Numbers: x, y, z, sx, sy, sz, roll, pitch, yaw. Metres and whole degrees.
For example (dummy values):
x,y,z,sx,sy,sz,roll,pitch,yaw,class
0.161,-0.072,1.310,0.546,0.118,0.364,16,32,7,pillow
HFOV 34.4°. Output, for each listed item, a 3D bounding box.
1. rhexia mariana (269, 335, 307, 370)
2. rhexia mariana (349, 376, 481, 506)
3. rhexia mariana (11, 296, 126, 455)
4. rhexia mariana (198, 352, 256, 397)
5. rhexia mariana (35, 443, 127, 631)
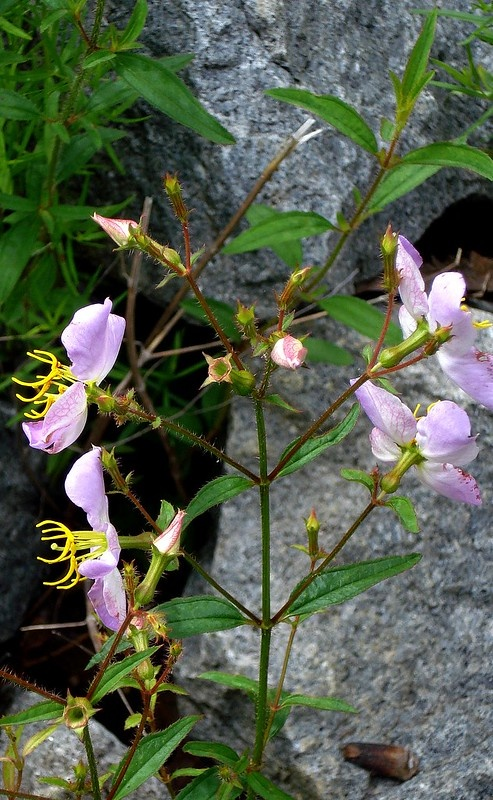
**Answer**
x,y,z,sx,sy,sz,roll,pitch,yaw,class
0.069,-0.075,1.326,0.053,0.060,0.040,-9,-8,-12,rhexia mariana
0.301,0.079,1.522,0.250,0.231,0.175,14,-31,13,rhexia mariana
-0.302,-0.043,1.422,0.144,0.275,0.250,19,18,-2,rhexia mariana
-0.027,-0.043,1.419,0.091,0.058,0.207,14,-7,0,rhexia mariana
-0.262,0.209,1.414,0.206,0.080,0.200,38,-29,17,rhexia mariana
